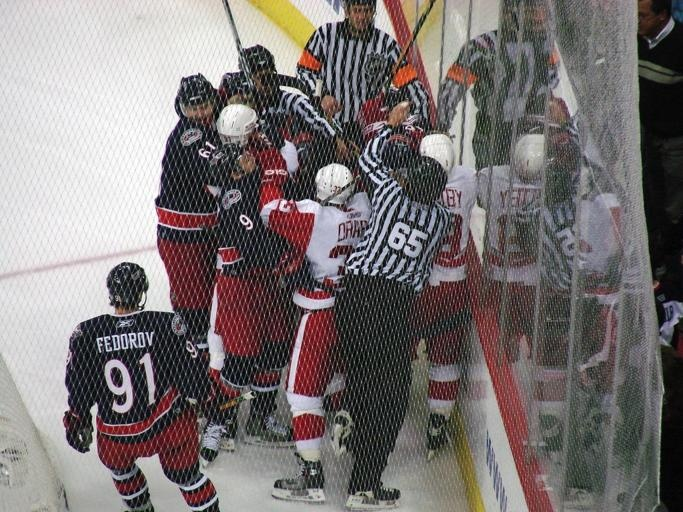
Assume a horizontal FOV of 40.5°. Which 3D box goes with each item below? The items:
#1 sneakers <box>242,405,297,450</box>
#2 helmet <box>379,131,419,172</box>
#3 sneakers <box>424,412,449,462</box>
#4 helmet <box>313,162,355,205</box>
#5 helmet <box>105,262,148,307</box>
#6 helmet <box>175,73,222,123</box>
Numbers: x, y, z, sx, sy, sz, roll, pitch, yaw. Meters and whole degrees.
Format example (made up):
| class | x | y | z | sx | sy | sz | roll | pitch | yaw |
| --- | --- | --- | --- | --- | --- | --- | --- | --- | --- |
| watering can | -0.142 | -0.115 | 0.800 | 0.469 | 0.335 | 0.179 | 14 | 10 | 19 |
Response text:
| class | x | y | z | sx | sy | sz | roll | pitch | yaw |
| --- | --- | --- | --- | --- | --- | --- | --- | --- | --- |
| sneakers | -0.356 | 0.839 | 4.549 | 0.292 | 0.273 | 0.122 | 2 | 6 | -9 |
| helmet | 0.267 | -0.507 | 4.380 | 0.122 | 0.199 | 0.182 | 2 | 13 | -9 |
| sneakers | 0.471 | 0.880 | 4.510 | 0.098 | 0.204 | 0.047 | 2 | 6 | -12 |
| helmet | -0.035 | -0.321 | 4.383 | 0.132 | 0.228 | 0.171 | 4 | -2 | 1 |
| helmet | -0.994 | 0.133 | 4.310 | 0.137 | 0.232 | 0.206 | 1 | 17 | -5 |
| helmet | -0.660 | -0.726 | 4.229 | 0.139 | 0.242 | 0.197 | 2 | 6 | -3 |
